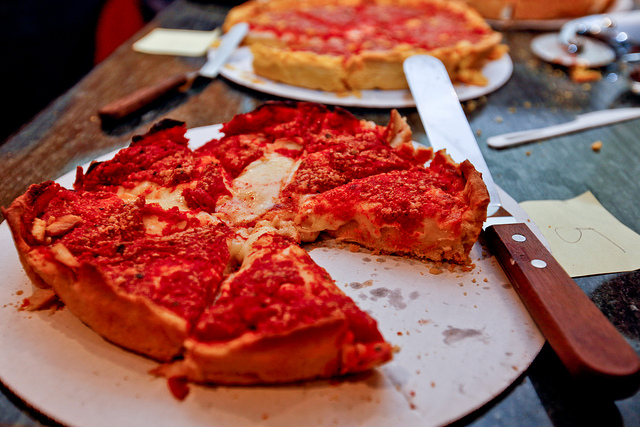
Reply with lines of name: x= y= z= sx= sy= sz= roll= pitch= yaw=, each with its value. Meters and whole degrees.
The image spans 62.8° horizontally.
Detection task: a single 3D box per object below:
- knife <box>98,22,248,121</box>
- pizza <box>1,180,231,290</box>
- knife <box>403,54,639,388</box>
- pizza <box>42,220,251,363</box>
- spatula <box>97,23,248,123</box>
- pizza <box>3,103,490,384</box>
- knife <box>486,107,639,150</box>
knife: x=-0.457 y=-0.510 z=1.866 sx=0.221 sy=0.057 sz=0.692 roll=25 pitch=41 yaw=24
pizza: x=-0.486 y=0.025 z=1.245 sx=0.387 sy=0.116 sz=0.273 roll=-7 pitch=46 yaw=-15
knife: x=0.440 y=-0.118 z=1.433 sx=0.198 sy=0.102 sz=1.182 roll=-6 pitch=43 yaw=-6
pizza: x=-0.428 y=0.150 z=1.307 sx=0.491 sy=0.245 sz=0.358 roll=-13 pitch=24 yaw=-36
spatula: x=-0.474 y=-0.507 z=1.851 sx=0.166 sy=0.143 sz=0.695 roll=36 pitch=67 yaw=18
pizza: x=-0.149 y=0.090 z=1.230 sx=0.806 sy=0.143 sz=0.697 roll=-2 pitch=42 yaw=-9
knife: x=0.773 y=-0.266 z=1.668 sx=0.492 sy=0.023 sz=0.087 roll=-10 pitch=44 yaw=-7
